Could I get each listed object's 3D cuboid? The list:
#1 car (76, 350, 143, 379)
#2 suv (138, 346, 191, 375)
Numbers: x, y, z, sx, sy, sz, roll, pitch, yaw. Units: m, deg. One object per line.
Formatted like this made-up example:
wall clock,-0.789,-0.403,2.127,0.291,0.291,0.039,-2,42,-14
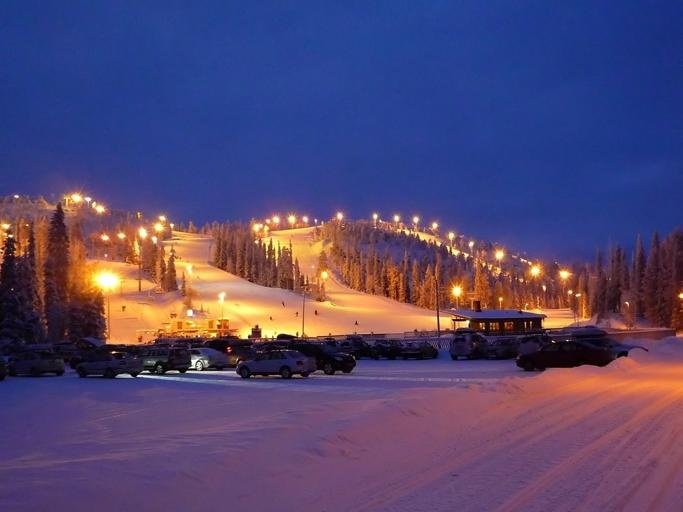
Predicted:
car,-12.274,5.724,41.663,3.160,1.270,1.407,-3,-7,22
suv,-9.919,5.842,44.405,2.594,1.447,1.384,-3,-7,28
